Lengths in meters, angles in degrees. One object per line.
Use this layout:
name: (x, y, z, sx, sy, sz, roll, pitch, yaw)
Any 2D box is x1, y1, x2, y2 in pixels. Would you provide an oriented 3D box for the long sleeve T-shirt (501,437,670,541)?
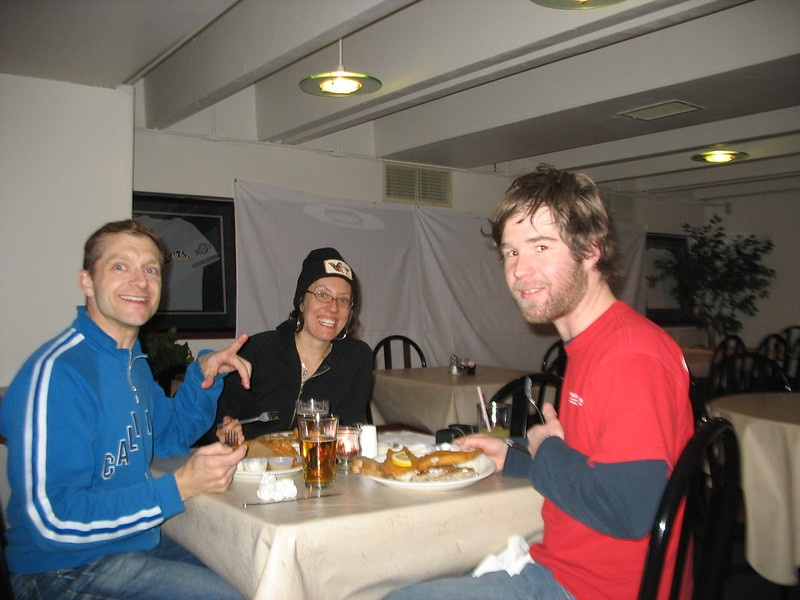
long sleeve T-shirt: (0.460, 0.409, 1.292, 0.191, 0.120, 0.244, -4, 10, -42)

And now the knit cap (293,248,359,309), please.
knit cap: (-0.327, -0.086, 2.436, 0.247, 0.264, 0.269, 5, -15, -22)

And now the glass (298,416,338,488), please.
glass: (-0.224, 0.429, 1.521, 0.115, 0.179, 0.112, -1, -10, -19)

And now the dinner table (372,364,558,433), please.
dinner table: (0.328, 0.627, 3.499, 0.730, 0.180, 0.734, 0, 3, -26)

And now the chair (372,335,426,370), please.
chair: (-0.018, 0.473, 5.031, 0.436, 0.586, 0.421, 1, -9, -11)

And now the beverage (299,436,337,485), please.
beverage: (-0.205, 0.443, 1.532, 0.118, 0.133, 0.118, -3, -6, 22)

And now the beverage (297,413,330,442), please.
beverage: (-0.239, 0.350, 1.507, 0.075, 0.047, 0.069, -2, 1, -26)

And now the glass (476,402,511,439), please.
glass: (0.326, 0.430, 1.928, 0.109, 0.128, 0.115, 0, -6, 5)
